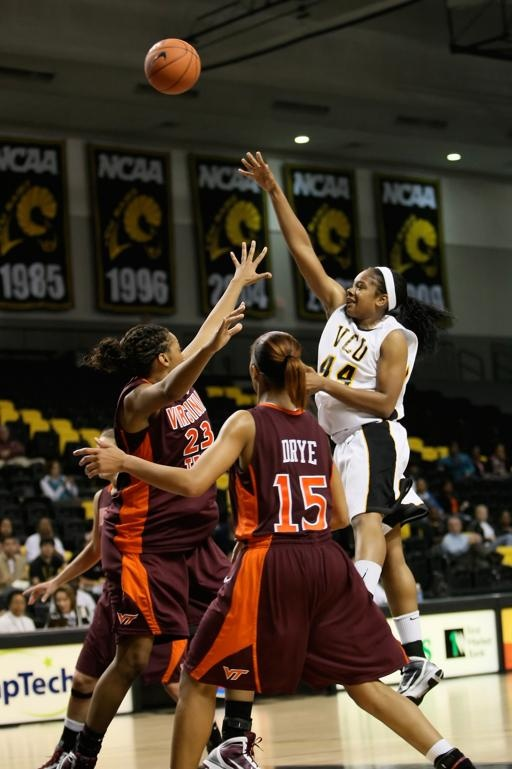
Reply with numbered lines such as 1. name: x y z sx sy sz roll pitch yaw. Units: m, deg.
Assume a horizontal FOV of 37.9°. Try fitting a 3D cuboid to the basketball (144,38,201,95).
1. basketball: -0.502 -1.930 4.418 0.303 0.416 0.325 -3 -2 -3
